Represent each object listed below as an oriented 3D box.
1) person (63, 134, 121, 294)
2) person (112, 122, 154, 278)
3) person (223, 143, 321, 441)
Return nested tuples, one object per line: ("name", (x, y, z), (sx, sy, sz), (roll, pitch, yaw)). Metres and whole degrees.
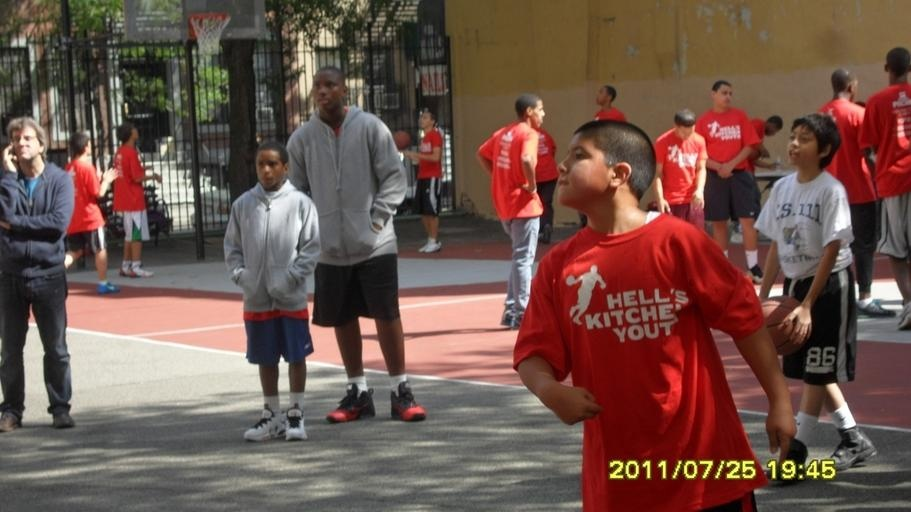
("person", (-6.536, -0.666, 17.581), (1.138, 3.528, 1.458), (2, 0, -11))
("person", (-6.052, -1.038, 18.235), (0.902, 2.906, 1.032), (2, 1, -19))
("person", (-1.935, 0.390, 10.723), (1.105, 3.081, 1.384), (1, 0, -1))
